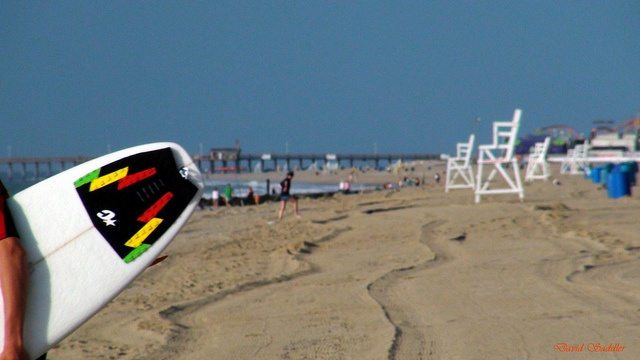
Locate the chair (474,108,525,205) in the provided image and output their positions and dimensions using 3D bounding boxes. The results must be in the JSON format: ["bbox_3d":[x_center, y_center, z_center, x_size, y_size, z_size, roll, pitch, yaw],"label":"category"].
[{"bbox_3d":[5.751,-0.697,29.364,1.735,2.817,2.016,-2,-5,3],"label":"chair"}]
